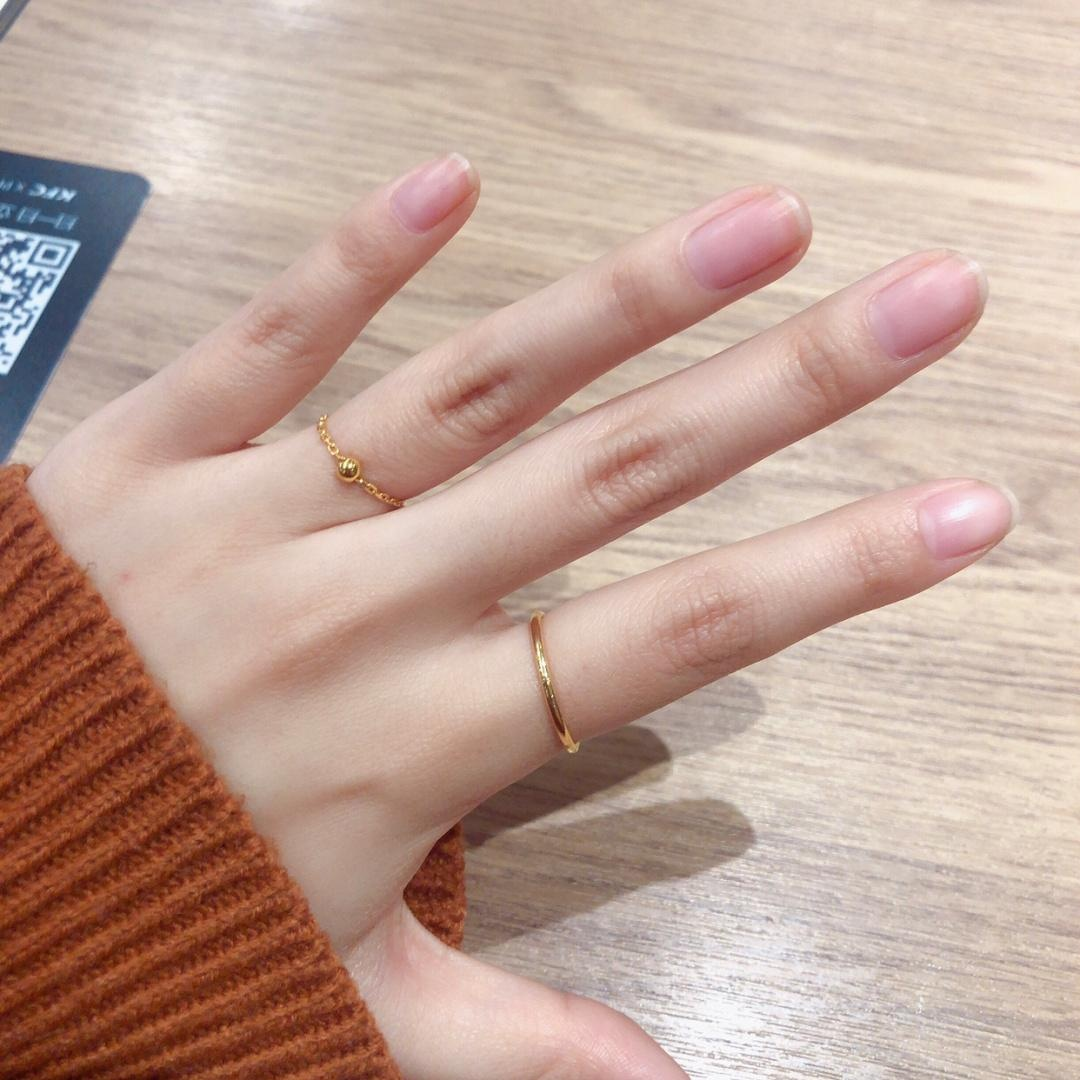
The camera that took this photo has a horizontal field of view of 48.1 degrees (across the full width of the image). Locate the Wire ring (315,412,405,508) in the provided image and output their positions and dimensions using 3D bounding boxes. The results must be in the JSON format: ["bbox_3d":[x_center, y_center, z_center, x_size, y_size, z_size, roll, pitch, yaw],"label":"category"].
[{"bbox_3d":[-0.121,-0.054,0.870,0.059,0.073,0.018,22,74,35],"label":"Wire ring"}]
